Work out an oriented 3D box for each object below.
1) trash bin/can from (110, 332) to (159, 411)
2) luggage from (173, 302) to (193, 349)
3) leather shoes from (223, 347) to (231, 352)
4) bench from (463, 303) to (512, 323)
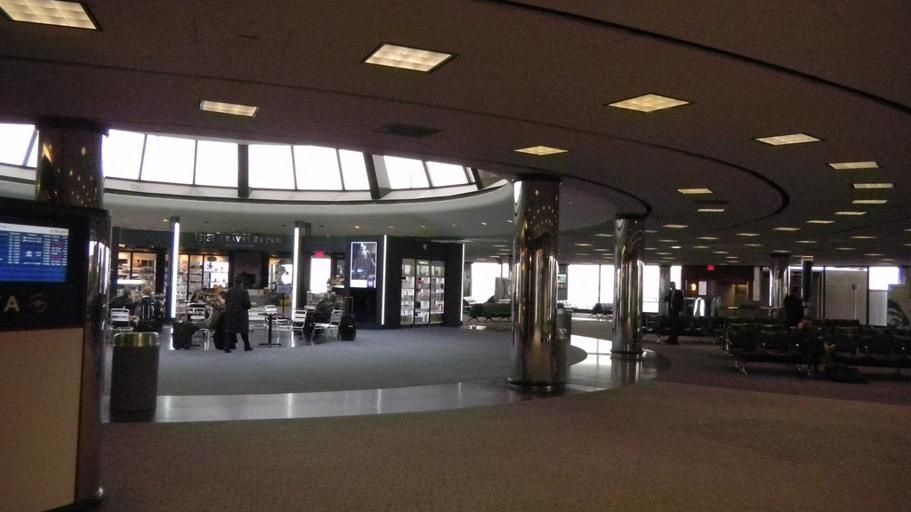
[{"bbox_3d":[-5.590,2.017,10.395,0.725,1.301,1.093,3,-5,-28],"label":"trash bin/can"},{"bbox_3d":[-8.210,2.249,17.994,0.609,0.966,1.952,3,-4,-24],"label":"luggage"},{"bbox_3d":[-6.472,2.646,16.894,0.144,0.115,0.226,0,-9,-16],"label":"leather shoes"},{"bbox_3d":[1.901,3.174,34.289,2.438,0.977,2.772,1,-4,0],"label":"bench"}]
